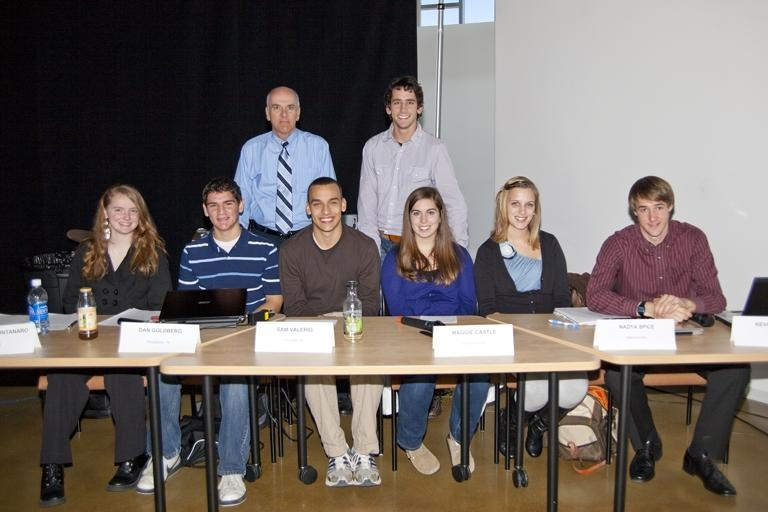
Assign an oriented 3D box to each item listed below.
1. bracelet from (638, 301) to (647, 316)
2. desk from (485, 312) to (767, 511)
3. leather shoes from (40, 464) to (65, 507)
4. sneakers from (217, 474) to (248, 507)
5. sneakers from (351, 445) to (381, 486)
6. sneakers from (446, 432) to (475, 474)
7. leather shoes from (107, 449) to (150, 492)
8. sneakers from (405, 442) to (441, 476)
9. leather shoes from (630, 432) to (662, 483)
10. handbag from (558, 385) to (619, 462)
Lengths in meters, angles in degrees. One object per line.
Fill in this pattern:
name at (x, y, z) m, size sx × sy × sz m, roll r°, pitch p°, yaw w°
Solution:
bracelet at (1.673, 0.340, 3.904) m, size 0.052 × 0.078 × 0.082 m, roll 1°, pitch 51°, yaw 18°
desk at (1.440, 0.662, 3.817) m, size 1.226 × 0.807 × 1.258 m, roll 0°, pitch 1°, yaw -16°
leather shoes at (-2.151, 1.482, 3.904) m, size 0.114 × 0.158 × 0.330 m, roll 4°, pitch -3°, yaw -23°
sneakers at (-0.972, 1.495, 3.849) m, size 0.113 × 0.123 × 0.284 m, roll 1°, pitch -12°, yaw -2°
sneakers at (-0.119, 1.403, 3.948) m, size 0.121 × 0.130 × 0.291 m, roll 1°, pitch -7°, yaw -10°
sneakers at (0.536, 1.341, 4.187) m, size 0.116 × 0.136 × 0.300 m, roll -5°, pitch 25°, yaw -12°
leather shoes at (-1.695, 1.446, 4.085) m, size 0.136 × 0.156 × 0.346 m, roll 5°, pitch 1°, yaw 18°
sneakers at (0.277, 1.387, 4.126) m, size 0.138 × 0.105 × 0.243 m, roll -14°, pitch 20°, yaw -29°
leather shoes at (1.773, 1.372, 4.082) m, size 0.136 × 0.180 × 0.399 m, roll 0°, pitch 5°, yaw 33°
handbag at (1.444, 1.201, 4.368) m, size 0.467 × 0.511 × 0.375 m, roll 1°, pitch -4°, yaw -39°
